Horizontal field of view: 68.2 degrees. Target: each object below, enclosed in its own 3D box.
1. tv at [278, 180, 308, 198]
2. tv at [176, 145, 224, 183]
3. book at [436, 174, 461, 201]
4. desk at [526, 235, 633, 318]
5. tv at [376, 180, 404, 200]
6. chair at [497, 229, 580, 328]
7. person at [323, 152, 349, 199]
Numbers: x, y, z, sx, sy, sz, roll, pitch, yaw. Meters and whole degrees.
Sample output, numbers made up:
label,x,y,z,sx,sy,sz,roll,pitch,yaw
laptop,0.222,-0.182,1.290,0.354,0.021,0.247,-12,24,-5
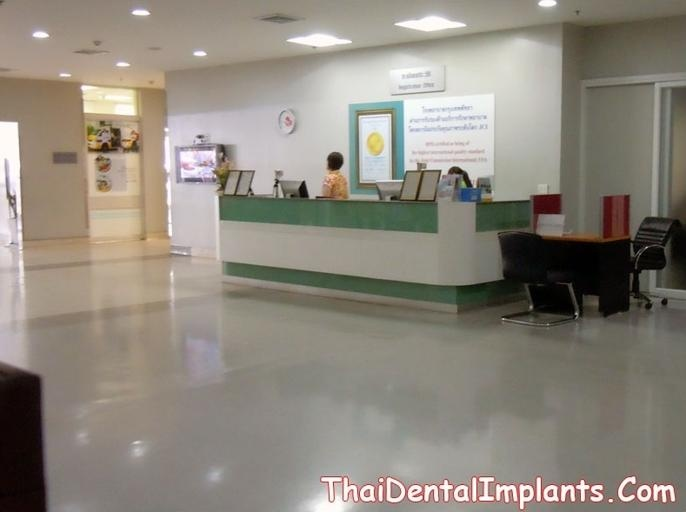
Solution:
label,x,y,z,sx,sy,sz,roll,pitch,yaw
tv,-0.839,-1.104,8.336,0.528,0.263,0.201,5,9,35
tv,-3.424,-2.211,12.153,1.689,0.913,0.213,6,9,38
book,1.389,-0.905,6.724,0.269,0.408,0.352,0,-1,45
desk,3.199,0.054,7.092,1.366,1.357,1.035,6,13,40
tv,0.686,-0.966,7.436,0.307,0.271,0.536,-1,8,-5
chair,2.581,0.244,6.606,0.862,1.152,1.092,5,9,39
person,-0.125,-1.321,8.278,0.385,0.755,0.804,-1,7,-2
